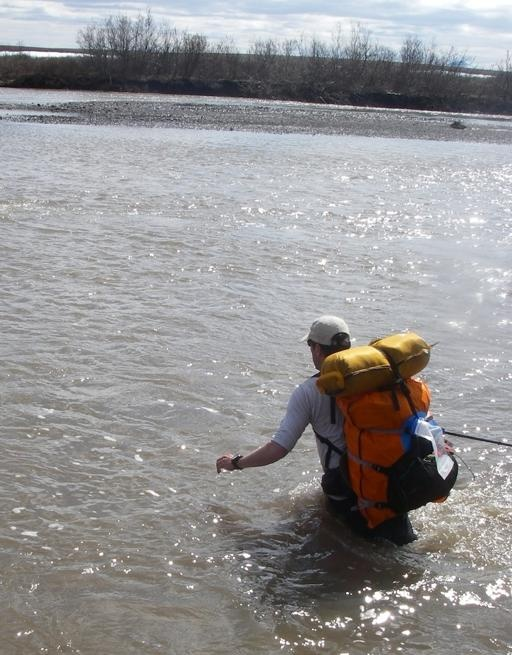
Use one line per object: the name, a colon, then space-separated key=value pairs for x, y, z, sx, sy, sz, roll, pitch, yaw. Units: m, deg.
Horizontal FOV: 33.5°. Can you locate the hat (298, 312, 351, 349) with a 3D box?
hat: x=0.388 y=0.016 z=4.814 sx=0.188 sy=0.103 sz=0.240 roll=-3 pitch=9 yaw=-28

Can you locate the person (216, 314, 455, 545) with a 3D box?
person: x=0.461 y=0.676 z=5.264 sx=1.009 sy=1.162 sz=0.939 roll=-26 pitch=33 yaw=-12
